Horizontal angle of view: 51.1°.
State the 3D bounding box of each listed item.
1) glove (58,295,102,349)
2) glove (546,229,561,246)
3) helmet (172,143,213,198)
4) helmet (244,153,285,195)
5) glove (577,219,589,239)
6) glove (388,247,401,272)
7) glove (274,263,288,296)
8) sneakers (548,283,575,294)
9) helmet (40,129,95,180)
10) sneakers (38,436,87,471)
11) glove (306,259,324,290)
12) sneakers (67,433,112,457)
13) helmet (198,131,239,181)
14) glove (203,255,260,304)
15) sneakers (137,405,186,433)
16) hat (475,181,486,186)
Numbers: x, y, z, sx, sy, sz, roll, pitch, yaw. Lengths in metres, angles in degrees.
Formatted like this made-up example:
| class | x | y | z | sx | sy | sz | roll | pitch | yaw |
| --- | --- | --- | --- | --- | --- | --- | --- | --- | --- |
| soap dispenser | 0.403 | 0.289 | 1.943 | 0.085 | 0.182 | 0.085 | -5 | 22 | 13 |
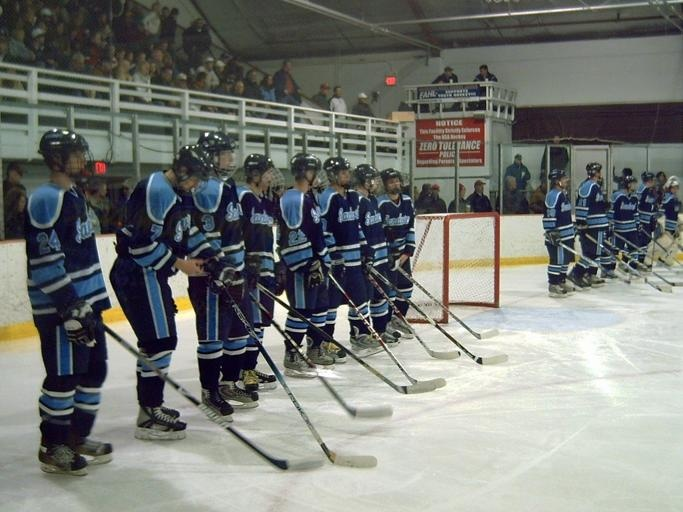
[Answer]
| class | x | y | z | sx | sy | sz | roll | pitch | yaw |
| --- | --- | --- | --- | --- | --- | --- | --- | --- | --- |
| glove | -1.660 | 0.393 | 4.299 | 0.290 | 0.295 | 0.218 | 2 | 6 | -39 |
| glove | 2.971 | -0.267 | 10.002 | 0.180 | 0.185 | 0.072 | -1 | -5 | -41 |
| helmet | -0.994 | -0.601 | 4.918 | 0.292 | 0.328 | 0.254 | 15 | 15 | -17 |
| helmet | -0.698 | -0.710 | 6.128 | 0.329 | 0.325 | 0.258 | 1 | 1 | 3 |
| glove | 3.653 | -0.428 | 10.927 | 0.181 | 0.250 | 0.259 | -1 | 0 | -2 |
| glove | 0.553 | 0.020 | 7.466 | 0.168 | 0.210 | 0.184 | -2 | -5 | -19 |
| glove | -0.547 | 0.186 | 6.228 | 0.153 | 0.229 | 0.082 | 6 | 0 | 17 |
| sneakers | 3.115 | 0.443 | 10.224 | 0.405 | 0.193 | 0.140 | -2 | 1 | 42 |
| helmet | -1.765 | -0.643 | 4.494 | 0.307 | 0.330 | 0.262 | -2 | 12 | -21 |
| sneakers | -1.744 | 1.218 | 4.425 | 0.332 | 0.166 | 0.158 | 5 | 10 | 8 |
| glove | -0.239 | 0.132 | 6.155 | 0.158 | 0.254 | 0.073 | 0 | 1 | -9 |
| sneakers | -1.604 | 1.180 | 4.539 | 0.302 | 0.141 | 0.105 | 1 | -2 | -5 |
| helmet | -0.965 | -0.773 | 5.391 | 0.334 | 0.347 | 0.276 | 5 | 15 | -6 |
| glove | -0.806 | 0.176 | 5.111 | 0.286 | 0.295 | 0.111 | 14 | -21 | -13 |
| sneakers | -1.246 | 1.095 | 4.867 | 0.397 | 0.254 | 0.143 | -1 | -2 | -12 |
| hat | 2.408 | -1.261 | 12.425 | 0.085 | 0.105 | 0.104 | -3 | -8 | -40 |
